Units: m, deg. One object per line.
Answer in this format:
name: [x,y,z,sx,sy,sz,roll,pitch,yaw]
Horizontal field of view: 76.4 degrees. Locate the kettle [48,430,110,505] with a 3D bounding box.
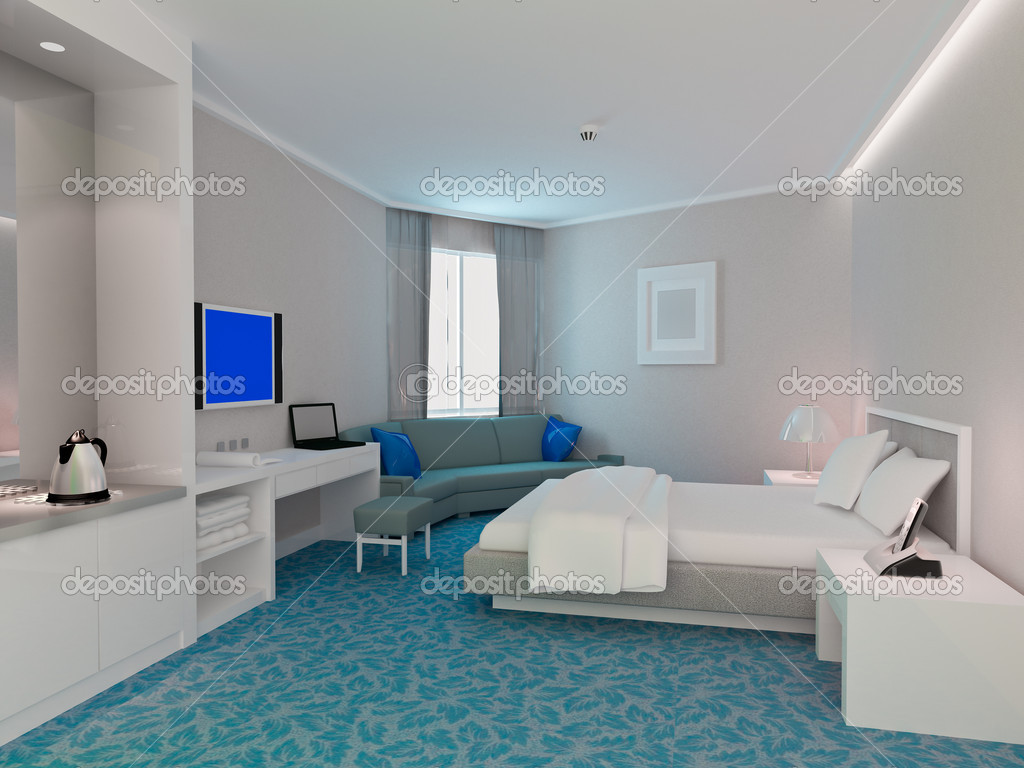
kettle: [-2.000,0.416,3.233,0.295,0.342,0.341,0,-5,4]

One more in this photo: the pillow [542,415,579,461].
pillow: [0.520,0.583,6.931,0.306,0.419,0.120,5,-18,27]

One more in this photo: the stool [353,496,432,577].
stool: [-0.863,0.982,4.728,0.468,0.539,0.643,0,-1,13]

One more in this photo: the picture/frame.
picture/frame: [1.731,-0.735,6.685,1.058,1.251,0.091,1,1,39]

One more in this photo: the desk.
desk: [-1.495,0.753,4.877,0.772,0.707,1.160,0,0,29]

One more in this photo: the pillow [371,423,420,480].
pillow: [-1.037,0.608,5.754,0.324,0.462,0.418,5,9,35]

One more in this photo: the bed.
bed: [1.478,0.866,3.860,1.713,0.748,1.671,1,-1,22]

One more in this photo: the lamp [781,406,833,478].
lamp: [2.568,0.495,5.712,0.578,0.675,0.584,-2,-2,32]

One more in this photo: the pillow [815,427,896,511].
pillow: [2.169,0.527,4.179,0.153,0.500,0.517,26,-6,-10]

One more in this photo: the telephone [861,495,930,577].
telephone: [1.902,0.726,3.189,0.369,0.402,0.258,-5,6,4]
